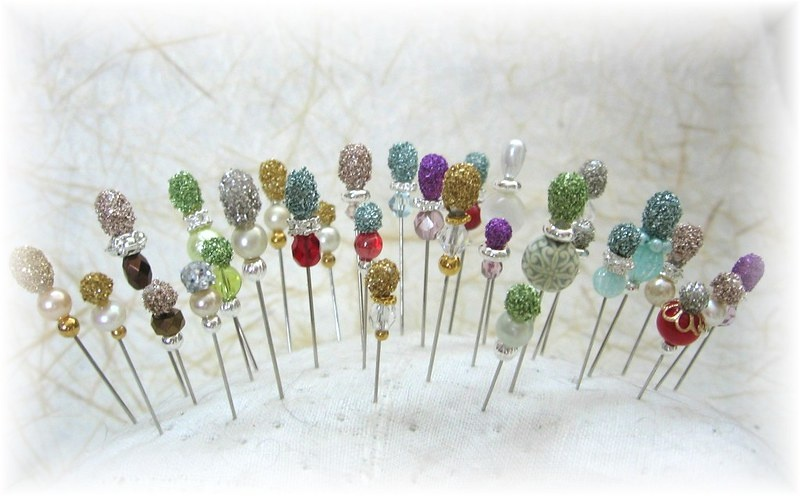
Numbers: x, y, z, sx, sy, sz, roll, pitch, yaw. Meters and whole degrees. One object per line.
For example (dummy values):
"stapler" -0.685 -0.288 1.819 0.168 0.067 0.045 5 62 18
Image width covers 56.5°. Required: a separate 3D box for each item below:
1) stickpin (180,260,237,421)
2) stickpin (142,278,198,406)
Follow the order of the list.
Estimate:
"stickpin" -1.650 0.826 6.428 0.344 1.642 0.339 -3 42 1
"stickpin" -2.039 0.866 6.550 0.344 1.355 0.281 -17 52 -14
